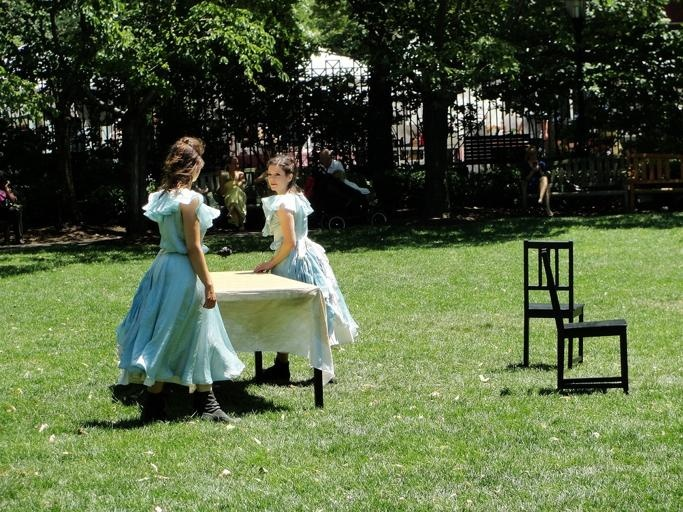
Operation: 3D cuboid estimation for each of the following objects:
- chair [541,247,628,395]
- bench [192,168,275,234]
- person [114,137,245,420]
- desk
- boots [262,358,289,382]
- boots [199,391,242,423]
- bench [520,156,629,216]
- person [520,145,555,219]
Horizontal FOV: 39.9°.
[{"bbox_3d":[2.530,0.673,9.777,0.928,1.393,0.832,3,13,17],"label":"chair"},{"bbox_3d":[-1.936,-0.985,17.346,1.662,1.227,0.699,0,4,16],"label":"bench"},{"bbox_3d":[-1.575,0.274,9.067,1.133,2.697,0.638,-5,13,-14],"label":"person"},{"bbox_3d":[-0.746,0.902,9.725,1.103,0.802,1.415,2,-2,-12],"label":"desk"},{"bbox_3d":[-0.697,1.290,10.379,0.388,0.306,0.151,3,-8,12],"label":"boots"},{"bbox_3d":[-1.201,1.487,9.245,0.421,0.310,0.159,9,37,44],"label":"boots"},{"bbox_3d":[5.611,-1.594,21.906,2.127,1.513,0.798,-4,2,6],"label":"bench"},{"bbox_3d":[4.309,-1.691,20.737,0.636,1.549,1.789,1,13,11],"label":"person"}]
